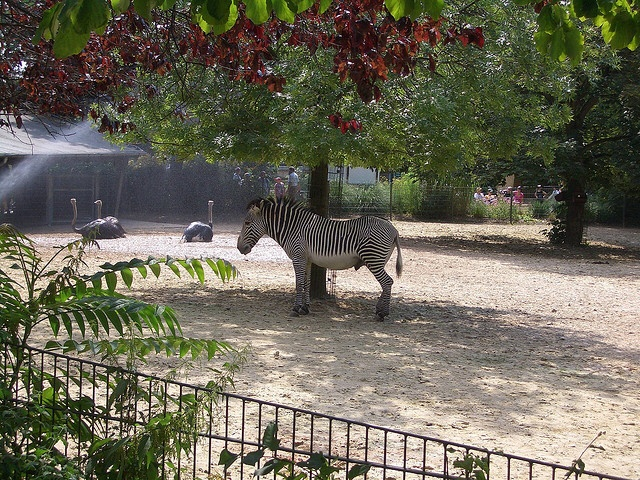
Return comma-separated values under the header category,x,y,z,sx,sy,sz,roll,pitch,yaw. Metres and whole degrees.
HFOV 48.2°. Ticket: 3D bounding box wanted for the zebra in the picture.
category,x,y,z,sx,sy,sz,roll,pitch,yaw
zebra,-0.104,0.411,13.245,3.223,1.986,0.998,3,7,16
